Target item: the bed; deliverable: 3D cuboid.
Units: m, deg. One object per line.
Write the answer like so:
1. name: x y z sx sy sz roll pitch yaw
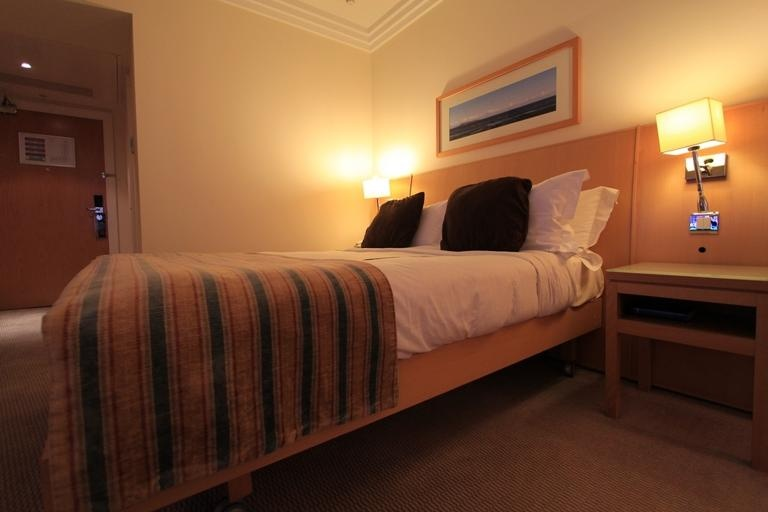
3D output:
1. bed: -0.634 0.532 2.418 1.452 0.357 1.447 -12 8 -31

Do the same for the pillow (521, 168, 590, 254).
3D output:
1. pillow: 1.156 -0.277 3.390 0.334 0.516 0.544 -9 0 -20

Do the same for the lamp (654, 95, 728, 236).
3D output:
1. lamp: 1.918 -0.548 3.138 0.387 0.810 0.230 0 7 -4
